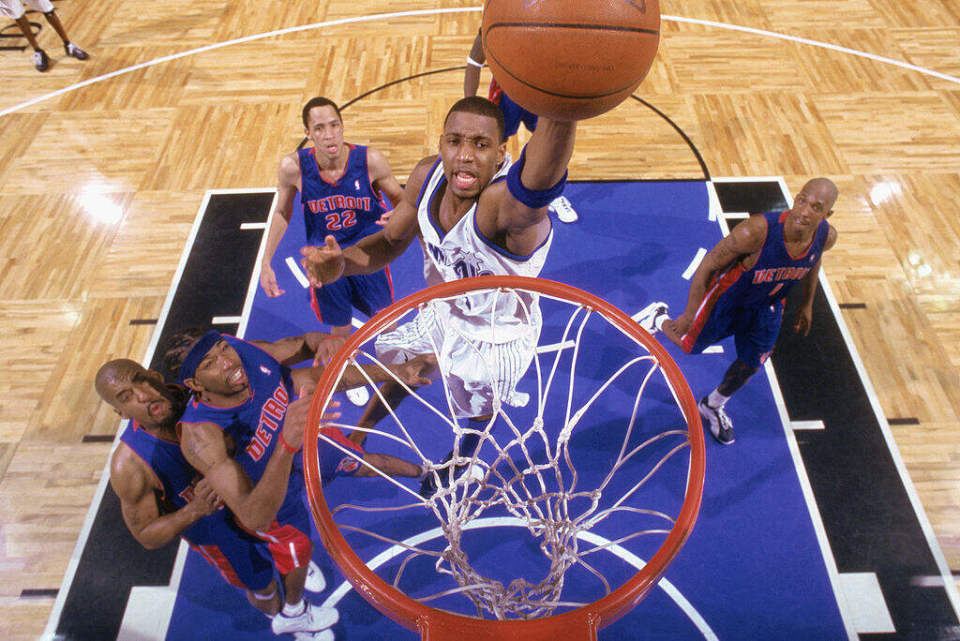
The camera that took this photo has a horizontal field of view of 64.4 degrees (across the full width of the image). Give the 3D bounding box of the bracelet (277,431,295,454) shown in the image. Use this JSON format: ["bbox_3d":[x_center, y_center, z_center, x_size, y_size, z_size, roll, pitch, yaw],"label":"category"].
[{"bbox_3d":[-1.006,0.635,3.965,0.023,0.096,0.094,-55,32,-1],"label":"bracelet"}]

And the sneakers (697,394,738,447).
[{"bbox_3d":[1.477,0.636,4.765,0.114,0.203,0.293,-25,72,-25],"label":"sneakers"}]

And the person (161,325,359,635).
[{"bbox_3d":[-1.249,0.953,4.239,0.653,1.655,0.818,-7,41,10],"label":"person"}]

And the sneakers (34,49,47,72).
[{"bbox_3d":[-3.922,-2.299,6.765,0.104,0.094,0.213,-7,52,-11],"label":"sneakers"}]

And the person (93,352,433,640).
[{"bbox_3d":[-1.237,1.040,4.290,0.565,1.548,0.660,-24,41,27],"label":"person"}]

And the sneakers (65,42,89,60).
[{"bbox_3d":[-3.618,-2.403,6.836,0.224,0.094,0.108,20,91,3],"label":"sneakers"}]

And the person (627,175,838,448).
[{"bbox_3d":[1.673,-0.145,4.919,0.985,1.927,0.839,10,37,-5],"label":"person"}]
